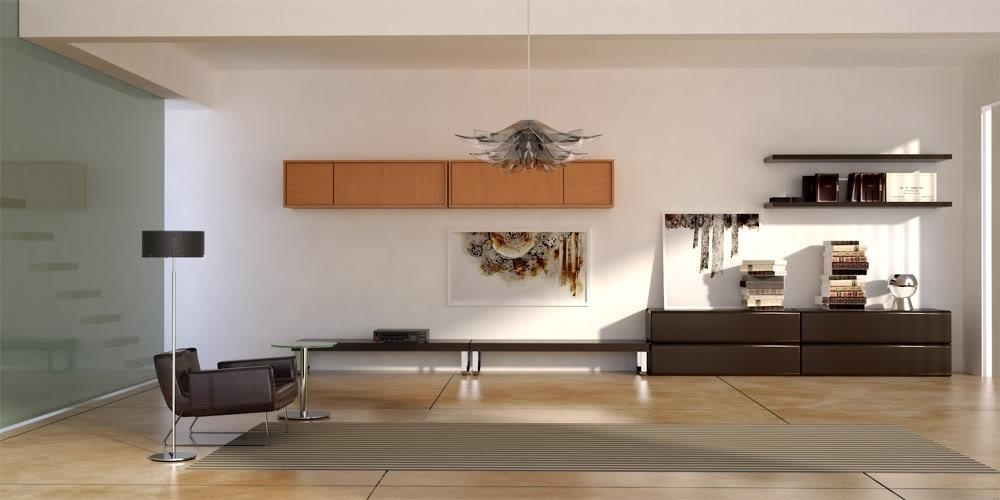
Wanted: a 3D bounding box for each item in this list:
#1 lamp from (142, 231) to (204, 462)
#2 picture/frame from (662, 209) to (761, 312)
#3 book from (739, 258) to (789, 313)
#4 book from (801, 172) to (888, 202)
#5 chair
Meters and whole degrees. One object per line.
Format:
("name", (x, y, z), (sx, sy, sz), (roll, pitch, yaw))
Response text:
("lamp", (-4.984, 1.371, 12.114), (0.807, 3.331, 2.085), (-1, 1, -24))
("picture/frame", (3.932, 0.256, 14.541), (2.284, 1.871, 0.080), (0, -4, 0))
("book", (4.728, 0.649, 14.334), (0.780, 0.881, 0.231), (0, 1, 12))
("book", (6.247, -1.118, 14.377), (1.485, 0.524, 0.324), (0, 1, -5))
("chair", (-4.139, 2.244, 12.128), (2.006, 1.161, 1.419), (-1, -4, -6))
